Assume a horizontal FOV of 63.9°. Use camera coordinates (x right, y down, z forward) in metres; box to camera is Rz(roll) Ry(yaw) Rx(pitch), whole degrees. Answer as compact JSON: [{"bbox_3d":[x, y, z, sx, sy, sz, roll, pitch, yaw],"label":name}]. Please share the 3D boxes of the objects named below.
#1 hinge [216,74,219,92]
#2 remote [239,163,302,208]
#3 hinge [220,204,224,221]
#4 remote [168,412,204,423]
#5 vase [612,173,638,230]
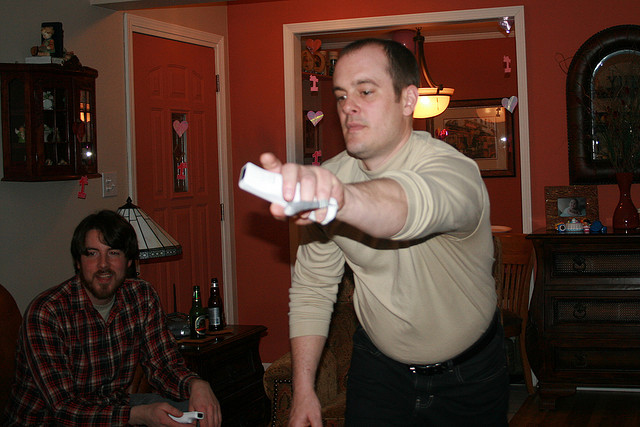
[{"bbox_3d":[-1.002,-1.264,4.975,0.037,0.169,0.010,-5,4,-12],"label":"hinge"},{"bbox_3d":[-0.133,-0.064,1.283,0.156,0.087,0.040,24,-32,-37],"label":"remote"},{"bbox_3d":[-0.962,-0.007,5.008,0.036,0.160,0.007,-6,4,-18],"label":"hinge"},{"bbox_3d":[-0.643,0.996,2.499,0.089,0.030,0.070,3,-1,7],"label":"remote"},{"bbox_3d":[2.405,-0.099,4.052,0.175,0.439,0.162,-2,5,31],"label":"vase"}]
